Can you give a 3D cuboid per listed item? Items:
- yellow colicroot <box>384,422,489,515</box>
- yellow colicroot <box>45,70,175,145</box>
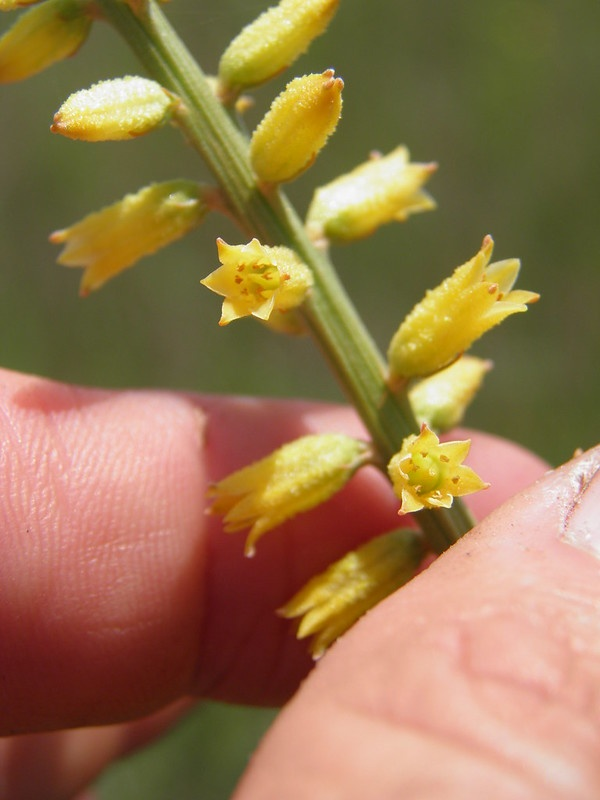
[{"bbox_3d":[0.352,0.200,2.350,0.279,0.155,0.237,41,93,13],"label":"yellow colicroot"},{"bbox_3d":[-0.495,-0.767,2.275,0.343,0.164,0.107,-12,48,-31],"label":"yellow colicroot"}]
